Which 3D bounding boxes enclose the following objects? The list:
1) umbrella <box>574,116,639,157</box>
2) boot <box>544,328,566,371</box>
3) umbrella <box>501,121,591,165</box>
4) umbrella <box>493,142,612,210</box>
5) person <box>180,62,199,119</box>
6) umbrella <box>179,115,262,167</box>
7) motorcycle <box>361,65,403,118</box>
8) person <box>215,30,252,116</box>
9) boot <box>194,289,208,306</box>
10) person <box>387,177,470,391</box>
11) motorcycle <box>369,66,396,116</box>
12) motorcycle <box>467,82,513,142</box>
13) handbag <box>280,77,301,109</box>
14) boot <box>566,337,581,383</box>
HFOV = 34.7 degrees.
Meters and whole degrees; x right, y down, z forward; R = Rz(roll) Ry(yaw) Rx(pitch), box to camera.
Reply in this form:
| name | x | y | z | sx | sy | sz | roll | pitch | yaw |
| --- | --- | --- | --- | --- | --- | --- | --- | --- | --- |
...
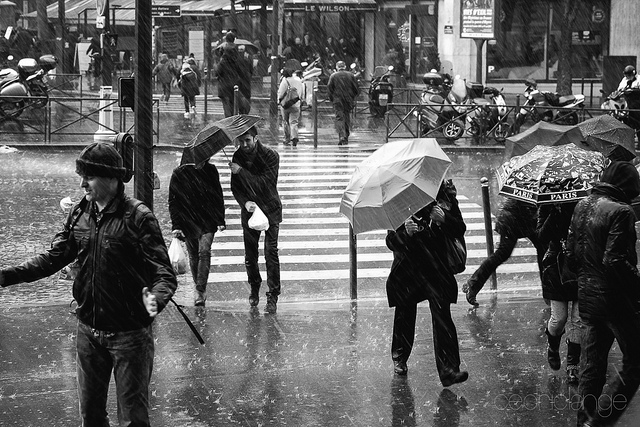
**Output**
| name | x | y | z | sx | sy | sz | roll | pitch | yaw |
| --- | --- | --- | --- | --- | --- | --- | --- | --- | --- |
| umbrella | 4.462 | -1.178 | 16.109 | 0.742 | 0.276 | 0.779 | 29 | 39 | 16 |
| boot | 2.981 | 1.738 | 13.198 | 0.241 | 0.513 | 0.484 | -2 | -20 | 8 |
| umbrella | 3.464 | -1.183 | 16.074 | 0.900 | 0.307 | 0.908 | -29 | 22 | -19 |
| umbrella | 2.896 | -0.419 | 12.972 | 1.340 | 0.678 | 1.028 | 5 | 16 | 13 |
| person | -4.219 | -3.807 | 33.010 | 0.559 | 1.569 | 2.451 | -1 | 16 | -7 |
| umbrella | -1.394 | -0.850 | 14.749 | 0.840 | 0.505 | 0.838 | -37 | 10 | -19 |
| motorcycle | 2.032 | -3.672 | 34.289 | 1.053 | 2.020 | 3.074 | 1 | -10 | 1 |
| person | -2.409 | -3.879 | 28.542 | 0.901 | 2.362 | 1.211 | 0 | 15 | -5 |
| boot | -1.798 | 1.222 | 15.296 | 0.162 | 0.220 | 0.219 | -1 | 15 | -8 |
| person | 1.341 | 0.908 | 12.771 | 1.038 | 2.365 | 0.592 | 6 | 15 | 20 |
| motorcycle | 2.117 | -4.053 | 33.640 | 0.831 | 1.725 | 2.414 | -1 | 7 | 5 |
| motorcycle | 4.717 | -2.723 | 28.266 | 1.189 | 1.473 | 2.125 | 0 | 8 | -21 |
| handbag | -0.811 | -3.055 | 26.988 | 0.362 | 0.615 | 0.587 | 3 | -4 | -18 |
| boot | 3.167 | 1.815 | 12.919 | 0.164 | 0.534 | 0.230 | 4 | 15 | 11 |
